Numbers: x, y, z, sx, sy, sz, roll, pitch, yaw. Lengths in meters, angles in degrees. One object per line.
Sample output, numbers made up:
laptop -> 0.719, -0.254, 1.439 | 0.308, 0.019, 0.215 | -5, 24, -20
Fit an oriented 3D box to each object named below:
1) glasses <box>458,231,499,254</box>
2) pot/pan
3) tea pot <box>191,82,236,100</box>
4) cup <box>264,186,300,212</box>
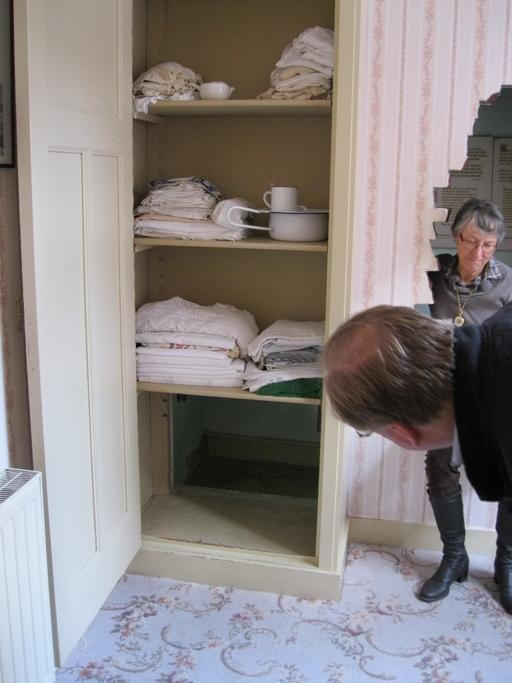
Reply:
glasses -> 0.796, -0.358, 2.149 | 0.086, 0.046, 0.111 | 6, -10, 10
pot/pan -> 0.087, -0.400, 2.068 | 0.250, 0.083, 0.164 | 1, 8, 2
tea pot -> -0.154, -0.870, 2.051 | 0.110, 0.042, 0.084 | 6, 36, 9
cup -> 0.067, -0.517, 2.155 | 0.146, 0.094, 0.093 | 8, 20, 35
